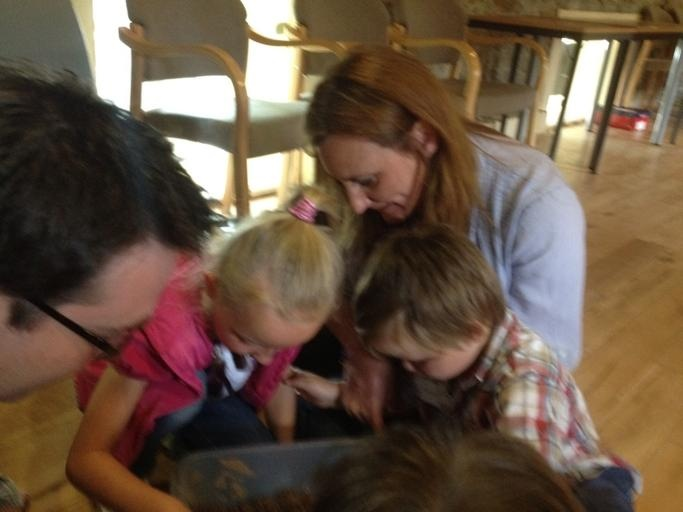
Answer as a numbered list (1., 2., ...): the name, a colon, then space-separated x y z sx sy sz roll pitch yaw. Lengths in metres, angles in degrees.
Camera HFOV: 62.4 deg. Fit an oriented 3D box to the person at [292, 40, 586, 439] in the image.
1. person: 0.153 -0.061 1.129 0.534 0.735 0.474 0 32 12
